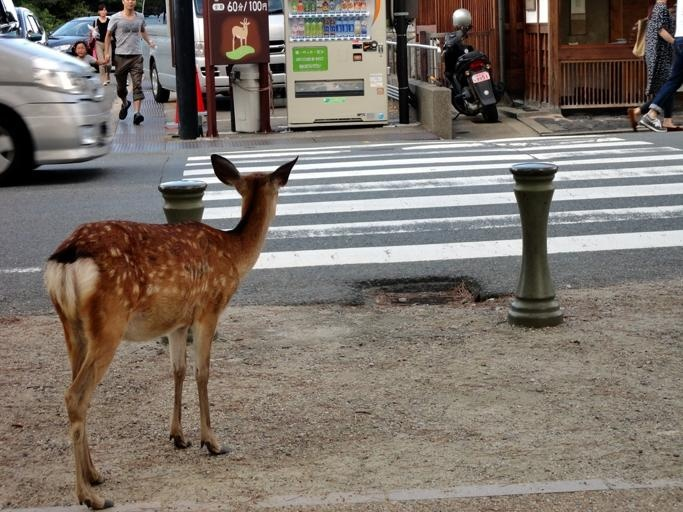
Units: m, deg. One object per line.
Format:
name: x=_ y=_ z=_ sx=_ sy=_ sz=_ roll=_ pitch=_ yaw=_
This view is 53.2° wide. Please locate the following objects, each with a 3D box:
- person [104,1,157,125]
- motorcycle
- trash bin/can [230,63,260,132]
person: x=-5.806 y=-5.422 z=18.355 sx=1.168 sy=4.363 sz=1.067 roll=3 pitch=23 yaw=4
motorcycle: x=3.372 y=-4.675 z=17.700 sx=0.891 sy=2.351 sz=1.759 roll=-7 pitch=15 yaw=-20
trash bin/can: x=-2.300 y=-3.900 z=16.853 sx=0.717 sy=1.606 sz=0.727 roll=-10 pitch=24 yaw=-26
